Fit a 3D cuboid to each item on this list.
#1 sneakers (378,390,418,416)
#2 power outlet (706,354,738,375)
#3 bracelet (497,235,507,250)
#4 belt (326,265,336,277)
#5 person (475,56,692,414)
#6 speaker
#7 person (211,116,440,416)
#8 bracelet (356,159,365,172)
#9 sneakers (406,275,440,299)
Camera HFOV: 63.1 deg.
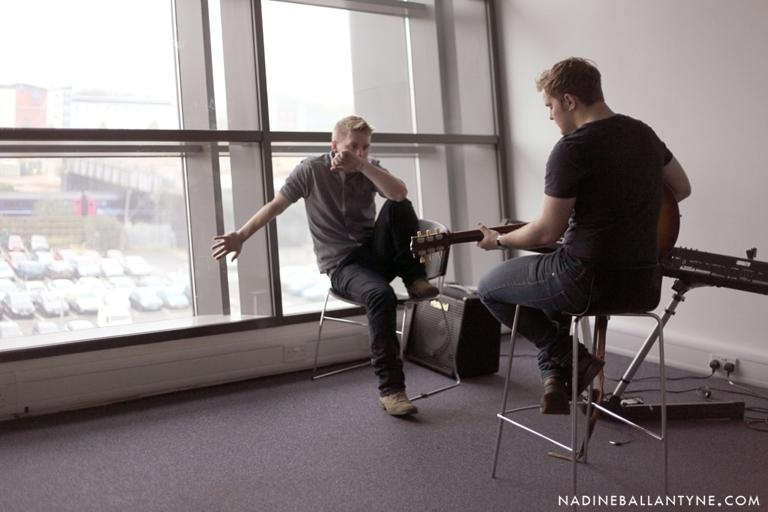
[{"bbox_3d":[0.090,0.893,3.798,0.128,0.137,0.221,-7,16,-30],"label":"sneakers"},{"bbox_3d":[2.221,0.696,4.075,0.101,0.122,0.181,-1,3,-36],"label":"power outlet"},{"bbox_3d":[0.595,-0.069,3.153,0.043,0.067,0.072,10,-4,20],"label":"bracelet"},{"bbox_3d":[-0.352,0.103,4.191,0.052,0.019,0.072,34,-26,-16],"label":"belt"},{"bbox_3d":[0.938,-0.036,3.106,0.881,1.823,0.391,4,14,8],"label":"person"},{"bbox_3d":[0.468,0.460,4.674,0.562,0.882,0.924,1,1,-25],"label":"speaker"},{"bbox_3d":[-0.227,-0.002,4.024,1.196,1.742,0.715,7,15,20],"label":"person"},{"bbox_3d":[-0.145,-0.559,3.828,0.012,0.048,0.051,11,43,-27],"label":"bracelet"},{"bbox_3d":[0.261,0.202,3.915,0.097,0.082,0.206,-5,-5,-26],"label":"sneakers"}]
